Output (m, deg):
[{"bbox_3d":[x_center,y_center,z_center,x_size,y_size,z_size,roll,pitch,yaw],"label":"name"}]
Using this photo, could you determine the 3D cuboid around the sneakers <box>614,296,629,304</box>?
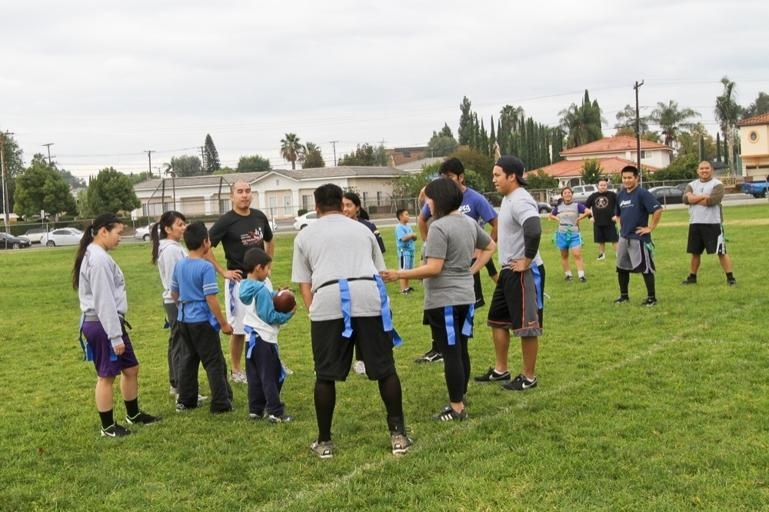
[{"bbox_3d":[4.102,0.763,12.047,0.309,0.128,0.103,1,-2,-12],"label":"sneakers"}]

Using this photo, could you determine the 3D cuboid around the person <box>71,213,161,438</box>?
[{"bbox_3d":[-3.044,0.782,7.757,0.641,2.424,0.761,-10,16,-25],"label":"person"}]

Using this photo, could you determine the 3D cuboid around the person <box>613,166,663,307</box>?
[{"bbox_3d":[4.324,-0.349,11.908,0.700,2.388,1.255,2,15,19],"label":"person"}]

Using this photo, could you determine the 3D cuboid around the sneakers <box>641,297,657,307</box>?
[{"bbox_3d":[4.447,0.769,11.644,0.319,0.200,0.109,3,2,21],"label":"sneakers"}]

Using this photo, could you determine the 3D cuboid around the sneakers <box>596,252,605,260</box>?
[{"bbox_3d":[5.429,0.029,17.497,0.113,0.144,0.345,-4,-6,32],"label":"sneakers"}]

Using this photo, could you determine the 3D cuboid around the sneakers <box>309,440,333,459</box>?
[{"bbox_3d":[-0.628,1.994,7.159,0.117,0.107,0.247,2,-2,-16],"label":"sneakers"}]

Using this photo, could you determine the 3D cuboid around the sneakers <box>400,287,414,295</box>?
[{"bbox_3d":[0.457,0.729,14.211,0.117,0.137,0.331,-1,-5,13],"label":"sneakers"}]

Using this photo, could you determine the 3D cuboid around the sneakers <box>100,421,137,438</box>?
[{"bbox_3d":[-2.955,1.929,7.776,0.375,0.164,0.139,3,13,0],"label":"sneakers"}]

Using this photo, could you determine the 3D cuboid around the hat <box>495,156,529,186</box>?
[{"bbox_3d":[1.517,-1.001,8.347,0.332,0.419,0.454,-1,14,10],"label":"hat"}]

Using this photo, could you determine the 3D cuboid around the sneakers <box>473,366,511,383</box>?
[{"bbox_3d":[1.370,1.501,8.821,0.493,0.193,0.175,0,-3,7],"label":"sneakers"}]

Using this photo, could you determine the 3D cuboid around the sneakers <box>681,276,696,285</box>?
[{"bbox_3d":[5.731,0.449,13.020,0.113,0.214,0.311,-2,6,-40],"label":"sneakers"}]

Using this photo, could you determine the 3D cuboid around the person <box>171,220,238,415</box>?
[{"bbox_3d":[-2.193,0.742,8.237,0.736,2.197,0.523,1,15,18],"label":"person"}]

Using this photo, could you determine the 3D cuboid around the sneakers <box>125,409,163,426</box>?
[{"bbox_3d":[-2.771,1.859,8.040,0.412,0.172,0.143,1,8,-8],"label":"sneakers"}]

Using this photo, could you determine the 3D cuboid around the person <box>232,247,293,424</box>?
[{"bbox_3d":[-1.378,0.907,8.033,0.551,1.926,0.803,-7,14,-13],"label":"person"}]

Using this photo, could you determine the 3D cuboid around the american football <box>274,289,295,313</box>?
[{"bbox_3d":[-1.124,0.507,8.008,0.233,0.267,0.232,15,11,2],"label":"american football"}]

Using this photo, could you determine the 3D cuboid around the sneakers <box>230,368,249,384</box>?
[{"bbox_3d":[-1.933,1.597,9.269,0.368,0.169,0.144,3,5,32],"label":"sneakers"}]

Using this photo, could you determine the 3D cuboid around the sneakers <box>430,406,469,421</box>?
[{"bbox_3d":[0.734,1.776,7.844,0.431,0.171,0.145,2,-5,1],"label":"sneakers"}]

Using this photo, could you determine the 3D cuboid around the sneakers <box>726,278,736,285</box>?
[{"bbox_3d":[6.269,0.478,12.561,0.153,0.148,0.096,0,1,41],"label":"sneakers"}]

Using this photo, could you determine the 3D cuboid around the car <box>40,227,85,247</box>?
[{"bbox_3d":[-19.343,-1.088,41.633,3.182,1.052,1.516,-3,6,-2],"label":"car"}]

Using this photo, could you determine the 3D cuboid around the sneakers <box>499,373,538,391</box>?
[{"bbox_3d":[1.644,1.529,8.488,0.469,0.184,0.169,-2,0,-6],"label":"sneakers"}]

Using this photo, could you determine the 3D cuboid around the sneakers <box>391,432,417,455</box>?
[{"bbox_3d":[0.174,1.939,7.161,0.114,0.140,0.309,-1,0,13],"label":"sneakers"}]

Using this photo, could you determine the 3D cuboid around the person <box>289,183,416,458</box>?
[{"bbox_3d":[-0.365,0.644,7.190,1.084,2.697,0.925,-5,14,-5],"label":"person"}]

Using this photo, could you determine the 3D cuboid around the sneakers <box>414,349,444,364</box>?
[{"bbox_3d":[0.628,1.396,9.631,0.423,0.177,0.167,1,-3,-18],"label":"sneakers"}]
